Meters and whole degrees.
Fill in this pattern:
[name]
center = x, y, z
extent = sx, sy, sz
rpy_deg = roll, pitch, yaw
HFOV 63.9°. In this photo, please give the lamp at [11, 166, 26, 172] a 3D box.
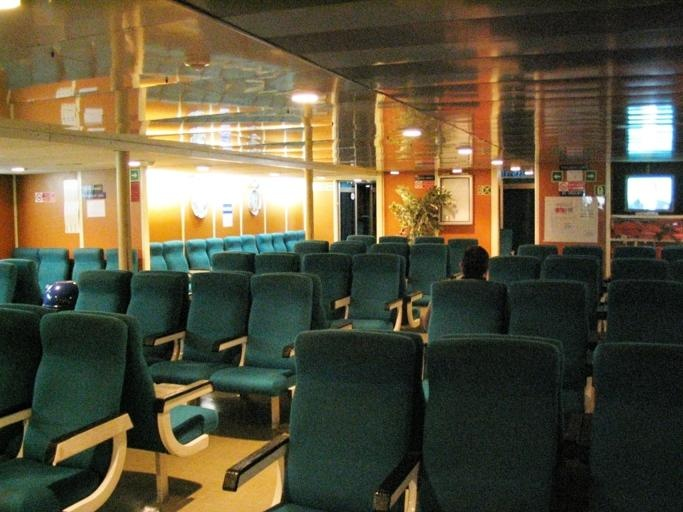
[lamp]
center = -5.575, -1.496, 9.431
extent = 0.218, 0.044, 0.214
rpy_deg = -4, -7, 30
